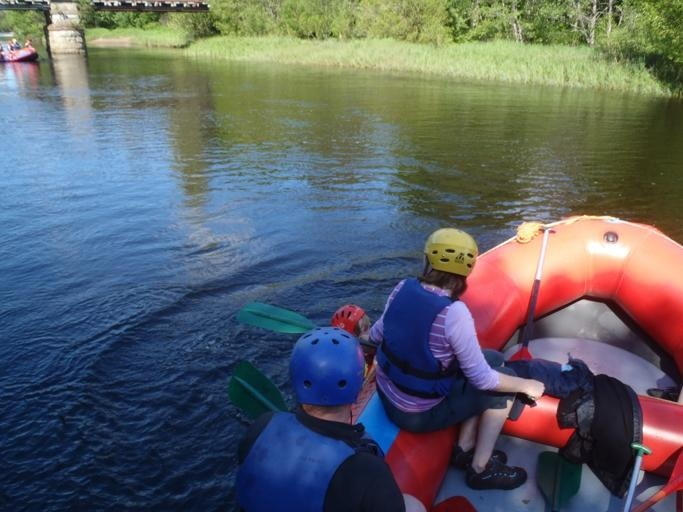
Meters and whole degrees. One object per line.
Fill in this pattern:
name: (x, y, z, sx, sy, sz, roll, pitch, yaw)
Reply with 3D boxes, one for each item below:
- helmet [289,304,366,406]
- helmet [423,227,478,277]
helmet: (-0.074, 0.519, 2.786, 0.319, 0.297, 0.394, 2, 27, 2)
helmet: (0.672, -0.028, 3.472, 0.280, 0.249, 0.328, 9, 27, -8)
